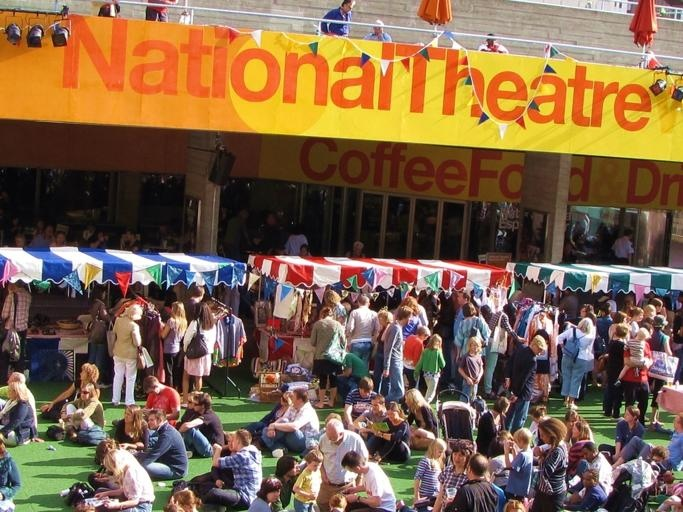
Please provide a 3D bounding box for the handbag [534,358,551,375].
[{"bbox_3d":[3.793,2.069,20.466,0.276,0.274,0.301,1,-2,-19],"label":"handbag"}]

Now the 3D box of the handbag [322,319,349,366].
[{"bbox_3d":[-0.146,1.583,19.646,0.248,0.747,0.549,-2,-17,35],"label":"handbag"}]

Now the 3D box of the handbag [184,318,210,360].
[{"bbox_3d":[-2.578,1.488,19.318,0.534,0.978,0.341,0,6,0],"label":"handbag"}]

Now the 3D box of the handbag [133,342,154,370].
[{"bbox_3d":[-3.537,1.856,19.377,0.260,0.575,0.510,-14,-12,13],"label":"handbag"}]

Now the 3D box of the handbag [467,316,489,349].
[{"bbox_3d":[2.550,1.314,20.313,0.351,0.832,0.632,-1,3,-5],"label":"handbag"}]

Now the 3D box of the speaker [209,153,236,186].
[{"bbox_3d":[-2.538,-1.898,23.215,0.341,0.571,0.934,4,-2,-24],"label":"speaker"}]

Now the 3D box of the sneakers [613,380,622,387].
[{"bbox_3d":[5.132,2.360,20.108,0.066,0.103,0.133,0,10,4],"label":"sneakers"}]

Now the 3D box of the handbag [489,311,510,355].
[{"bbox_3d":[2.948,1.437,20.401,0.319,1.052,0.689,0,4,0],"label":"handbag"}]

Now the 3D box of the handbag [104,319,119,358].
[{"bbox_3d":[-4.175,1.459,19.626,0.190,1.087,0.610,2,1,-10],"label":"handbag"}]

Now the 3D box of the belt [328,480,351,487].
[{"bbox_3d":[-0.032,3.446,16.426,0.334,0.074,0.043,4,-2,1],"label":"belt"}]

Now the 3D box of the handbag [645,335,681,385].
[{"bbox_3d":[6.037,1.976,20.452,0.894,1.124,0.265,1,-2,5],"label":"handbag"}]

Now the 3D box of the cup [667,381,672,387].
[{"bbox_3d":[6.077,2.367,20.047,0.066,0.069,0.083,1,-5,5],"label":"cup"}]

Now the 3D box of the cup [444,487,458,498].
[{"bbox_3d":[1.604,3.444,15.888,0.137,0.137,0.135,-1,-1,0],"label":"cup"}]

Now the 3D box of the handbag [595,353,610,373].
[{"bbox_3d":[5.200,2.110,21.696,0.108,0.473,0.298,11,20,18],"label":"handbag"}]

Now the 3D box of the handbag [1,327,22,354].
[{"bbox_3d":[-5.929,1.527,19.429,0.354,0.610,0.251,4,-8,-25],"label":"handbag"}]

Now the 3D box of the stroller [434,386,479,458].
[{"bbox_3d":[1.906,2.799,18.345,0.563,1.330,0.902,-2,-13,-3],"label":"stroller"}]
